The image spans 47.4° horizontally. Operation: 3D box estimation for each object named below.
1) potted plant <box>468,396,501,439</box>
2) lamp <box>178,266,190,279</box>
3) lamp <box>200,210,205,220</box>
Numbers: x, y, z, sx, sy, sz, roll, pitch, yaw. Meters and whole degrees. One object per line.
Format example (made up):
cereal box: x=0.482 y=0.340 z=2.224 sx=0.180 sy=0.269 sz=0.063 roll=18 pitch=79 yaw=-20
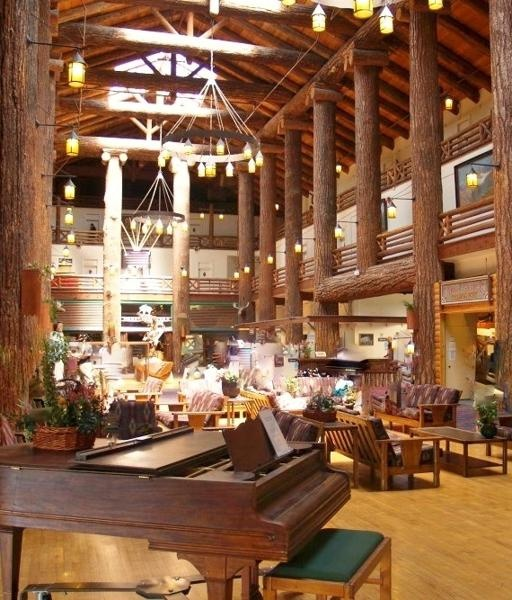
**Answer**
potted plant: x=2.481 y=1.259 z=6.267 sx=0.216 sy=0.427 sz=0.454 roll=0 pitch=-5 yaw=21
lamp: x=-2.344 y=-0.912 z=19.211 sx=0.301 sy=0.365 sz=0.227 roll=3 pitch=-5 yaw=-16
lamp: x=-2.264 y=-3.625 z=25.066 sx=0.265 sy=0.270 sz=0.252 roll=-3 pitch=-11 yaw=11
